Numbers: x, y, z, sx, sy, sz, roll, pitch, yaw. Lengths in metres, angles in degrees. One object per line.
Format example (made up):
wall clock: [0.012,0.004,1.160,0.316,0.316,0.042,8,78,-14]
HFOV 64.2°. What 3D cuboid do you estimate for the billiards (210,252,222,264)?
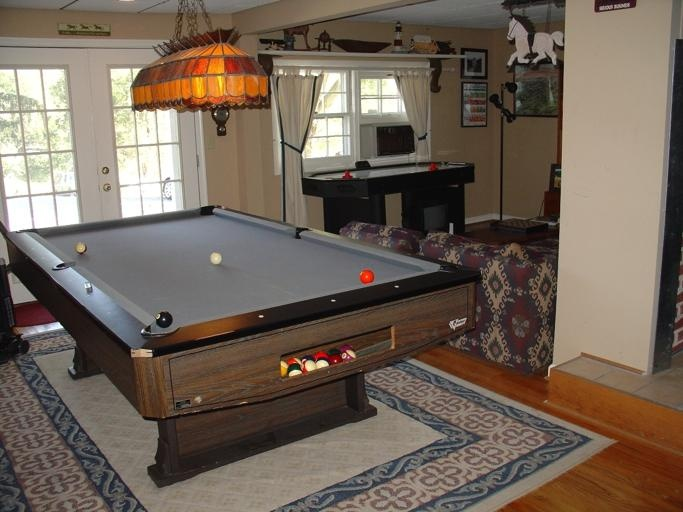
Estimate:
billiards: [-0.777,0.014,3.373,0.073,0.065,0.025,-5,-14,7]

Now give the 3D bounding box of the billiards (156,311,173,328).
billiards: [-0.783,0.278,2.387,0.060,0.067,0.094,-10,16,-29]

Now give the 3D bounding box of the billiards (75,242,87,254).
billiards: [-1.823,-0.057,3.803,0.059,0.056,0.048,34,19,1]

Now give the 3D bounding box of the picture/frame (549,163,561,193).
picture/frame: [2.936,-1.078,7.480,0.113,0.351,0.340,1,14,13]

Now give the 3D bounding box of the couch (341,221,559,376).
couch: [0.987,0.294,4.466,1.610,0.977,1.881,-8,17,-40]

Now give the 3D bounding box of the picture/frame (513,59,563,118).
picture/frame: [2.852,-2.413,7.987,0.770,0.756,0.173,10,19,41]

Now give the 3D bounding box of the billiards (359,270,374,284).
billiards: [0.133,0.111,2.913,0.073,0.066,0.081,1,-24,30]

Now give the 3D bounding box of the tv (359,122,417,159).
tv: [0.645,-1.626,7.722,0.812,0.456,0.199,-10,16,-31]
